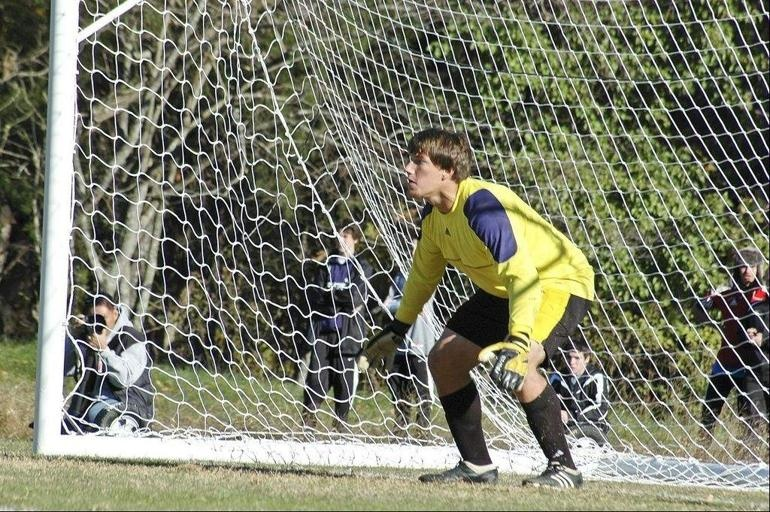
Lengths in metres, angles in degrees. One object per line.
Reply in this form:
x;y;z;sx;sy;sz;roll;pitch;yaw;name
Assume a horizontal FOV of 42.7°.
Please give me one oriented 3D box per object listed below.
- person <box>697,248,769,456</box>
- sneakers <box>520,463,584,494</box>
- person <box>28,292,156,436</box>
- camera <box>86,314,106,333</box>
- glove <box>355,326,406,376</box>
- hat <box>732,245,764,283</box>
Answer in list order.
3.787;0.959;10.713;0.712;2.208;1.591;1;-9;18;person
1.474;1.982;8.677;0.550;0.291;0.219;7;-14;-11;sneakers
-2.918;1.137;10.520;0.941;1.502;1.361;6;-9;-18;person
-3.129;0.722;10.626;0.175;0.080;0.253;1;-15;8;camera
-0.052;0.871;9.113;0.459;0.309;0.178;-33;18;9;glove
3.967;0.141;10.696;0.298;0.504;0.375;-10;-25;16;hat
